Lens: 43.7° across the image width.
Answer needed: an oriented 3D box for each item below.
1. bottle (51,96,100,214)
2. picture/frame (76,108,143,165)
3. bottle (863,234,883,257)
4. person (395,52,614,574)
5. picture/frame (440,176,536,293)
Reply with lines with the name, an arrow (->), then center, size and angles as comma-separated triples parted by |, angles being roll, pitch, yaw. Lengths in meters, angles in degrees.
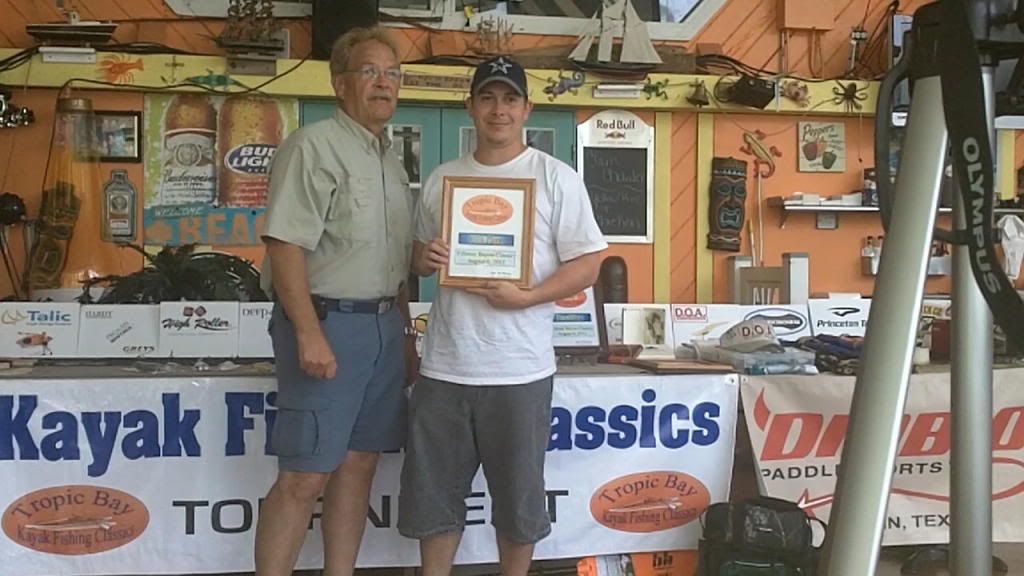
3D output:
bottle -> -3.602, -1.077, 10.545 | 0.348, 0.983, 0.203 | 0, 3, -11
picture/frame -> -3.343, -1.264, 10.615 | 0.524, 0.418, 0.037 | 0, 1, -11
bottle -> 3.198, -0.363, 11.291 | 0.143, 0.191, 0.227 | 1, 3, 10
person -> -0.097, 0.184, 8.332 | 1.254, 3.339, 0.411 | 0, 3, -5
picture/frame -> -0.127, -0.319, 8.269 | 0.818, 0.840, 0.066 | 0, -6, 3
